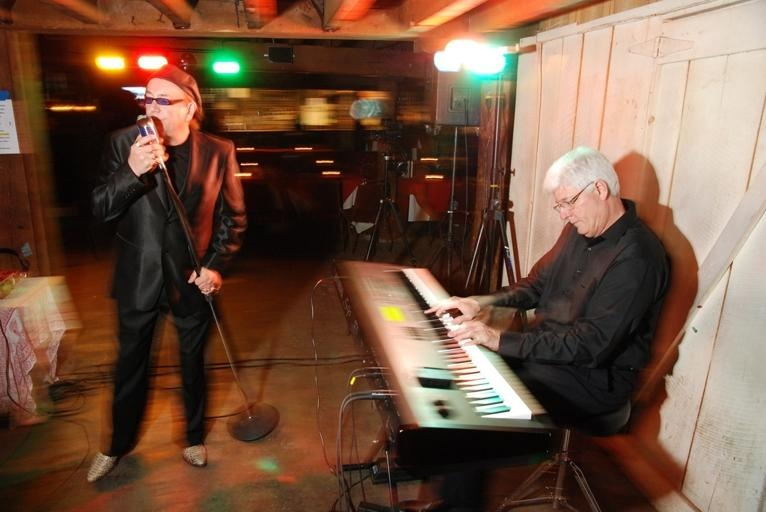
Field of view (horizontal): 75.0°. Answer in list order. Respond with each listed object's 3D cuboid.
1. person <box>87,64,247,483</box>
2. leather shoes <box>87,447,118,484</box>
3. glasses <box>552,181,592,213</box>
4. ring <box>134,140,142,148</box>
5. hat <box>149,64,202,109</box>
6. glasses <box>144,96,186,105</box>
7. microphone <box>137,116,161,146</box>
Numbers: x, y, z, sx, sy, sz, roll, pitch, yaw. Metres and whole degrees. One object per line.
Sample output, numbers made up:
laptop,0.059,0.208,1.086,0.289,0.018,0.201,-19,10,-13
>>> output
person,-1.492,0.143,3.449,1.085,2.819,0.510,-3,15,-15
leather shoes,-2.011,1.500,3.576,0.108,0.095,0.247,31,-12,-10
glasses,1.168,-0.379,3.088,0.165,0.048,0.155,-36,-8,-7
ring,-1.491,-0.685,3.043,0.040,0.013,0.040,-27,4,2
hat,-1.362,-1.135,3.299,0.303,0.277,0.244,-8,16,-32
glasses,-1.400,-0.992,3.191,0.220,0.051,0.067,-4,14,-22
microphone,-1.437,-0.782,3.042,0.127,0.142,0.078,-1,14,-10
